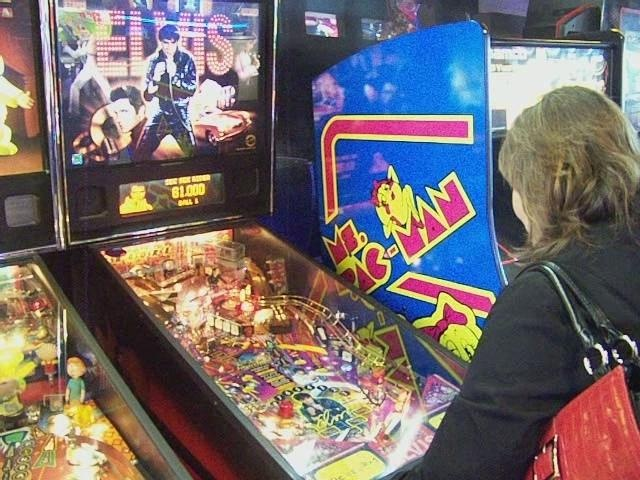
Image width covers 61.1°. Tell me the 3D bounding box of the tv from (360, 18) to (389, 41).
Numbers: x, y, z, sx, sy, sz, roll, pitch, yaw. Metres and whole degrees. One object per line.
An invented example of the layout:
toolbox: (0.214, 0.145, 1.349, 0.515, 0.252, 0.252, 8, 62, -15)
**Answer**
tv: (0.299, -1.175, 3.029, 0.180, 0.116, 0.020, -15, 22, -37)

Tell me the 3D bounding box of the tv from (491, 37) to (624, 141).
tv: (1.156, -0.768, 2.709, 0.680, 0.481, 0.064, -3, 3, -5)
